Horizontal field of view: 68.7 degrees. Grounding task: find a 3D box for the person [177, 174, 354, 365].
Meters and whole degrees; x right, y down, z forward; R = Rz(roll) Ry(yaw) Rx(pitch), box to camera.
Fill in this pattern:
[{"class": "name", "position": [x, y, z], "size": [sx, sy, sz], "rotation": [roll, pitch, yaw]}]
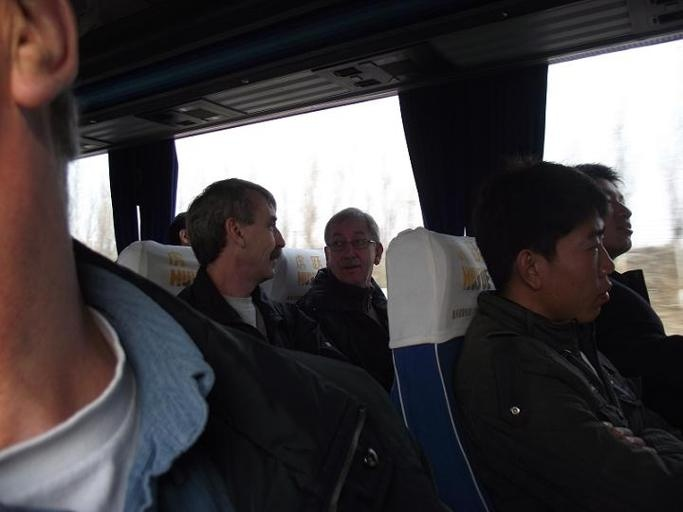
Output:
[{"class": "person", "position": [-0.317, 0.052, 2.371], "size": [0.470, 0.711, 0.982], "rotation": [-15, 5, -13]}]
